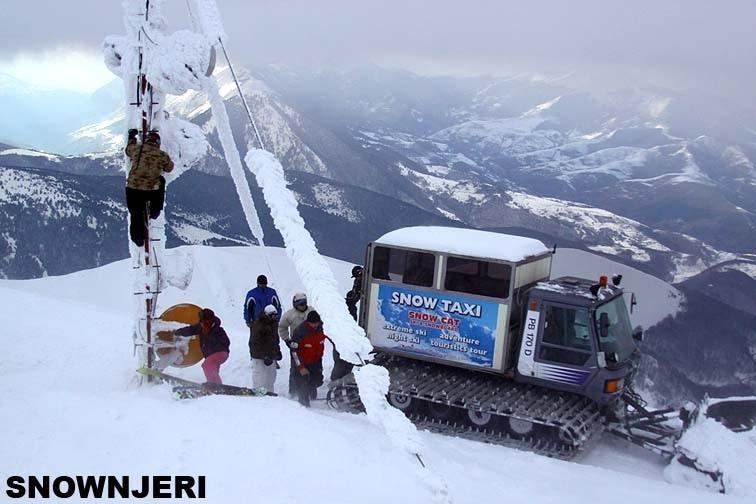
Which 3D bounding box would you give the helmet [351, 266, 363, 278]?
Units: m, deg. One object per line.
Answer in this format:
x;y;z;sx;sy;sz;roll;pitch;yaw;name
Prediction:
-0.545;0.515;17.810;0.250;0.302;0.323;1;-7;2;helmet

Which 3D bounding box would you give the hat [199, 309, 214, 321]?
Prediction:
-4.119;1.499;15.933;0.295;0.262;0.251;4;7;23;hat

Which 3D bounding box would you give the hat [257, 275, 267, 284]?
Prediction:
-3.007;0.719;17.300;0.266;0.256;0.194;-4;9;3;hat

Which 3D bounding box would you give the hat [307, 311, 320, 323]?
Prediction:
-1.546;1.559;15.943;0.279;0.339;0.347;-4;-7;-17;hat

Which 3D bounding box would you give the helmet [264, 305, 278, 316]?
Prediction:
-2.573;1.411;16.154;0.258;0.217;0.205;-27;-3;20;helmet

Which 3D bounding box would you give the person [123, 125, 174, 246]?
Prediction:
-4.896;-1.277;14.077;0.879;2.472;0.911;-7;20;-36;person

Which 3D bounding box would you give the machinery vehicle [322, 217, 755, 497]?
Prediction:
3.584;2.257;16.855;10.142;4.243;5.060;9;19;22;machinery vehicle

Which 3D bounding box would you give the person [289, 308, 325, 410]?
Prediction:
-1.580;2.601;16.324;1.025;2.732;0.772;-5;32;-17;person

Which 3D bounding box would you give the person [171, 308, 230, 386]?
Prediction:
-4.162;2.296;16.034;1.092;1.881;0.442;-4;19;-29;person

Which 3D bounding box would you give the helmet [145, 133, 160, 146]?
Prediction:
-4.745;-2.387;14.071;0.275;0.329;0.328;6;-5;-25;helmet

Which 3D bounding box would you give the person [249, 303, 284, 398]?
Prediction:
-2.758;2.358;16.266;0.750;2.215;0.612;1;17;-15;person

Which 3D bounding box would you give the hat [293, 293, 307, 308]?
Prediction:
-1.971;1.215;16.753;0.281;0.357;0.362;-7;-7;-15;hat
